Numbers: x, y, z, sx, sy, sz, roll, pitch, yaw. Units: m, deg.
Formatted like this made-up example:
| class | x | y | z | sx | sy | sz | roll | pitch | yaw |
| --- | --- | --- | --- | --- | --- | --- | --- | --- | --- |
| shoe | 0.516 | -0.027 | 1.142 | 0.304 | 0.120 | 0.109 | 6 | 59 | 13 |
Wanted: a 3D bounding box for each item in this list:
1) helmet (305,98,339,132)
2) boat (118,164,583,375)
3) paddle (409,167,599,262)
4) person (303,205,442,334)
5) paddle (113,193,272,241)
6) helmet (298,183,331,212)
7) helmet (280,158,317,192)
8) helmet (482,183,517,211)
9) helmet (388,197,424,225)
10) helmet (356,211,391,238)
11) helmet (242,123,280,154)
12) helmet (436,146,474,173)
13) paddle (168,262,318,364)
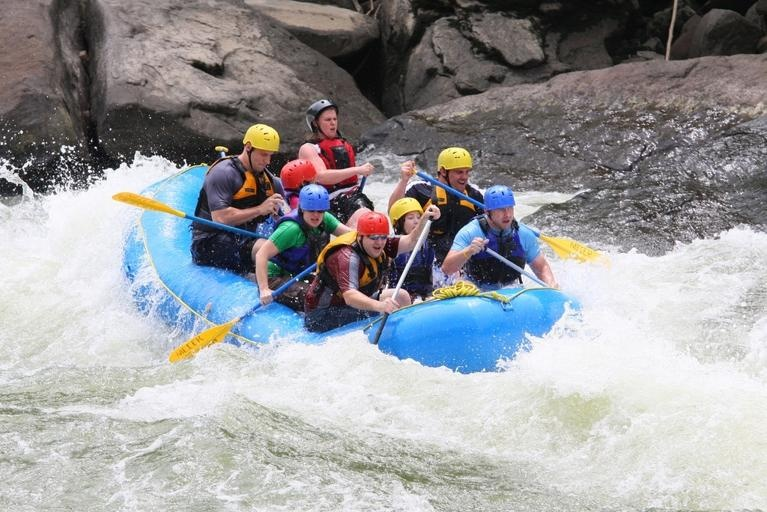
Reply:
| class | x | y | z | sx | sy | sz | roll | pitch | yaw |
| --- | --- | --- | --- | --- | --- | --- | --- | --- | --- |
| helmet | -0.753 | -1.718 | 11.230 | 0.422 | 0.438 | 0.355 | 20 | 22 | 32 |
| boat | -1.100 | -0.119 | 9.555 | 2.096 | 0.950 | 4.025 | -6 | 14 | -37 |
| paddle | 1.447 | -0.455 | 10.719 | 2.476 | 0.089 | 0.317 | 26 | 36 | -8 |
| person | -0.126 | 0.123 | 9.089 | 1.244 | 1.187 | 0.893 | -17 | 29 | -33 |
| paddle | -2.080 | -0.438 | 10.312 | 1.414 | 0.186 | 0.070 | 19 | 45 | 2 |
| helmet | -0.706 | -0.601 | 9.397 | 0.252 | 0.177 | 0.310 | 4 | 19 | -8 |
| helmet | -0.965 | -0.927 | 10.464 | 0.367 | 0.392 | 0.297 | 41 | 7 | -12 |
| helmet | 1.188 | -0.602 | 9.377 | 0.251 | 0.169 | 0.298 | -12 | 16 | -21 |
| helmet | 0.214 | -0.510 | 9.940 | 0.272 | 0.339 | 0.248 | -8 | 65 | -50 |
| helmet | -0.099 | -0.305 | 8.904 | 0.303 | 0.254 | 0.199 | -3 | 25 | -6 |
| helmet | -1.364 | -1.303 | 10.061 | 0.306 | 0.213 | 0.382 | 10 | 13 | -35 |
| helmet | 0.802 | -1.080 | 10.370 | 0.342 | 0.179 | 0.281 | 13 | 18 | 39 |
| paddle | -1.403 | 0.610 | 9.415 | 1.855 | 0.199 | 0.140 | -29 | 5 | 1 |
